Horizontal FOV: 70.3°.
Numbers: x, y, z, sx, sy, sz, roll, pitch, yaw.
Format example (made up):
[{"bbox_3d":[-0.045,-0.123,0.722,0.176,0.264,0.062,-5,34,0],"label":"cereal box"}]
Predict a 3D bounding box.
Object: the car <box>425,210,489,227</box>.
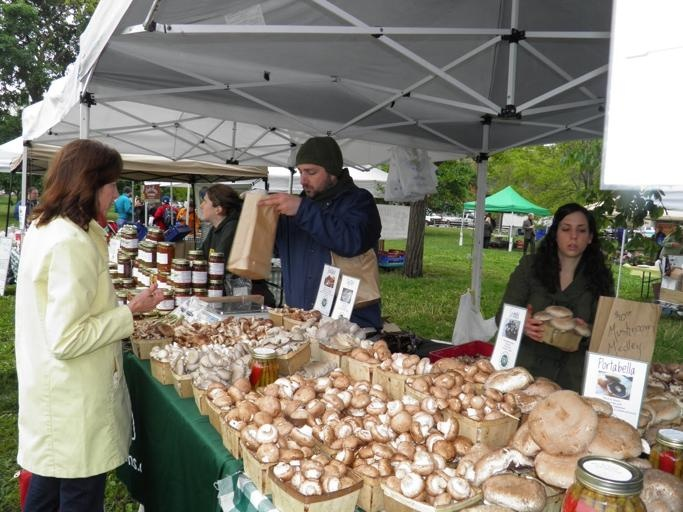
[{"bbox_3d":[10.684,-3.528,47.796,4.042,1.476,7.733,1,4,6],"label":"car"}]
